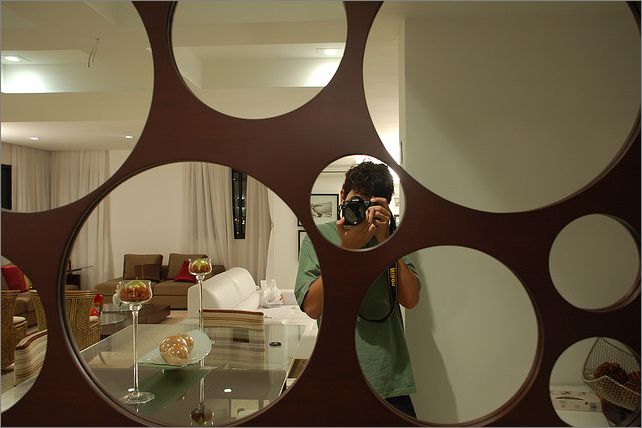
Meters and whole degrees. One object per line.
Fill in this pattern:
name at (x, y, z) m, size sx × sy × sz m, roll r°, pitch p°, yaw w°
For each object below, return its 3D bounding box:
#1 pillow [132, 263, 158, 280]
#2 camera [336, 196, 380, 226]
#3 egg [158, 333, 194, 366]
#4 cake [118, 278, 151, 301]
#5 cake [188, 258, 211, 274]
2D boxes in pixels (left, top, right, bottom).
pillow at (-1.563, 0.513, 4.239) m, size 0.130 × 0.096 × 0.048 m, roll -2°, pitch -31°, yaw -13°
camera at (0.063, -0.004, 0.893) m, size 0.062 × 0.040 × 0.048 m, roll 1°, pitch 1°, yaw 4°
egg at (-0.355, 0.331, 1.152) m, size 0.045 × 0.041 × 0.095 m, roll 4°, pitch -5°, yaw -5°
cake at (-0.607, 0.241, 1.506) m, size 0.099 × 0.079 × 0.096 m, roll 2°, pitch -3°, yaw 2°
cake at (-0.428, 0.187, 1.688) m, size 0.082 × 0.066 × 0.079 m, roll 2°, pitch -3°, yaw -16°
